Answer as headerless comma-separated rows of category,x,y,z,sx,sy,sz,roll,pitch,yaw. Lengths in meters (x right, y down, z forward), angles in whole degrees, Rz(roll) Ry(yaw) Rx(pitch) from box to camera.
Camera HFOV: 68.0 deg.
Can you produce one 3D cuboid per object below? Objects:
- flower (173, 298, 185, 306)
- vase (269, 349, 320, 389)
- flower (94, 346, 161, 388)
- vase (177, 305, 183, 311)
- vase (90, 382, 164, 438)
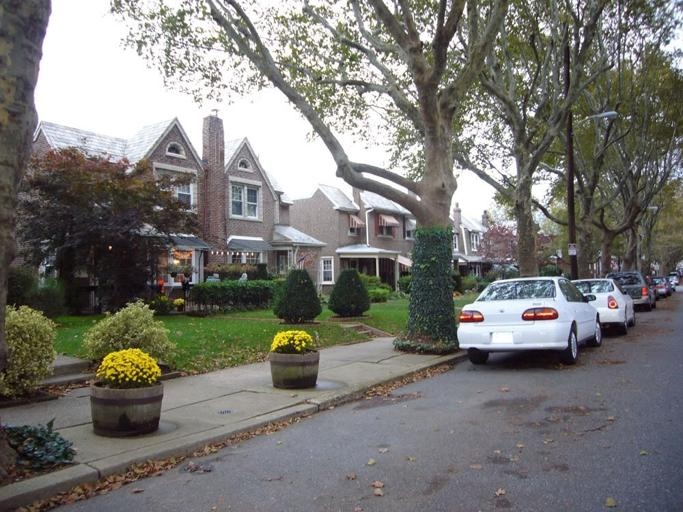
flower,-6.560,1.850,20.476,0.324,0.234,0.321,2,-4,-41
vase,-0.914,2.129,9.553,0.671,0.470,0.704,-7,-11,34
flower,-3.054,1.613,7.202,0.756,0.562,0.913,-9,-11,2
vase,-6.446,2.063,20.294,0.238,0.299,0.428,1,-7,-20
vase,-2.902,2.081,6.860,0.686,0.486,0.740,0,-3,13
